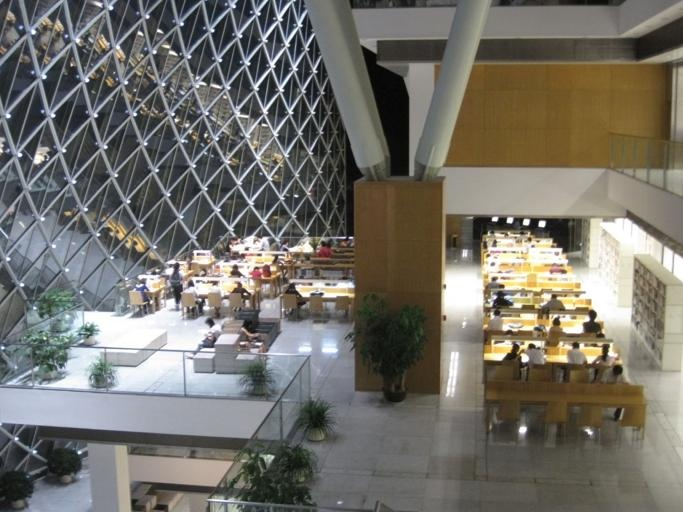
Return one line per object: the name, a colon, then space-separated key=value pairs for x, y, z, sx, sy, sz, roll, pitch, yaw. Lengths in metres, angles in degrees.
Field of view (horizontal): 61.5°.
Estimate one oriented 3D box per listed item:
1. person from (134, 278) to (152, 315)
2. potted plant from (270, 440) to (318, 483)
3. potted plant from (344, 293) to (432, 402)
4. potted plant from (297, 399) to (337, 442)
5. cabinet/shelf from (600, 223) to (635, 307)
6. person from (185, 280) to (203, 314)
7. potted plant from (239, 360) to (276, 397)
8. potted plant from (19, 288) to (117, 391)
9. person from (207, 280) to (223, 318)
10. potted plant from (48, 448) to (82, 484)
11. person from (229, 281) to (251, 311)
person: x=-8.066 y=1.652 z=23.448 sx=0.544 sy=1.168 sz=1.467 roll=-5 pitch=14 yaw=-18
potted plant: x=-1.018 y=4.390 z=11.934 sx=0.741 sy=0.615 sz=0.856 roll=10 pitch=9 yaw=35
potted plant: x=1.311 y=2.532 z=15.638 sx=1.855 sy=2.764 sz=1.319 roll=3 pitch=13 yaw=13
potted plant: x=-0.578 y=4.024 z=14.198 sx=0.839 sy=0.819 sz=0.865 roll=-4 pitch=26 yaw=-5
cabinet/shelf: x=12.227 y=0.457 z=25.283 sx=0.452 sy=1.735 sz=3.316 roll=-1 pitch=15 yaw=10
person: x=-5.849 y=1.684 z=23.068 sx=0.615 sy=1.191 sz=1.456 roll=-4 pitch=14 yaw=-14
potted plant: x=-2.350 y=3.408 z=16.006 sx=0.923 sy=0.939 sz=0.959 roll=-1 pitch=6 yaw=-6
potted plant: x=-8.956 y=2.737 z=18.579 sx=1.485 sy=0.757 sz=2.468 roll=5 pitch=23 yaw=-6
person: x=-5.030 y=1.766 z=22.879 sx=0.532 sy=1.142 sz=1.411 roll=-4 pitch=14 yaw=-13
potted plant: x=-11.613 y=8.641 z=24.029 sx=1.262 sy=1.391 sz=1.231 roll=3 pitch=12 yaw=-9
person: x=-3.851 y=1.553 z=22.391 sx=0.798 sy=1.437 sz=0.828 roll=0 pitch=14 yaw=3
